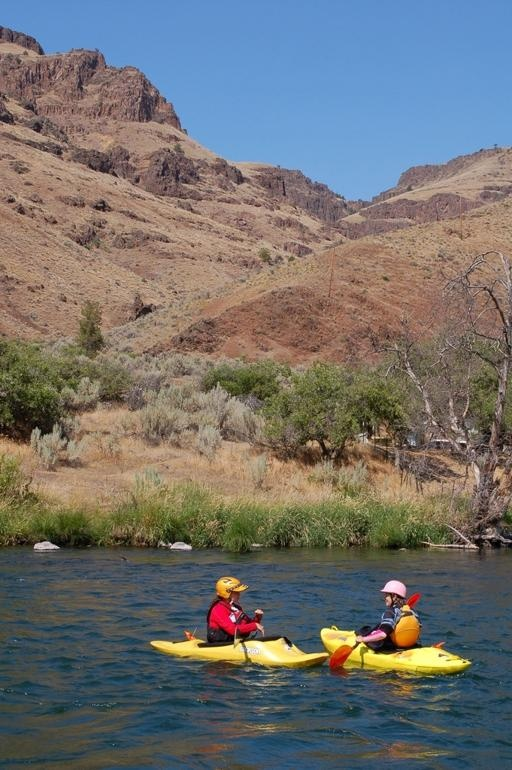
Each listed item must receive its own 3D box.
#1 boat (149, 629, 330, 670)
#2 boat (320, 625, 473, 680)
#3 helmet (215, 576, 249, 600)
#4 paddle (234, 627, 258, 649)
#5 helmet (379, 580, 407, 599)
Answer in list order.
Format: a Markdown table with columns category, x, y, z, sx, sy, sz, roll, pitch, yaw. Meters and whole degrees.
| category | x | y | z | sx | sy | sz | roll | pitch | yaw |
| --- | --- | --- | --- | --- | --- | --- | --- | --- | --- |
| boat | -0.110 | 2.700 | 10.950 | 2.132 | 0.383 | 0.596 | -1 | -7 | 26 |
| boat | 1.378 | 2.739 | 10.922 | 1.537 | 0.268 | 0.508 | -2 | 4 | 38 |
| helmet | -0.276 | 2.110 | 11.259 | 0.326 | 0.170 | 0.220 | -7 | -6 | 17 |
| paddle | -0.132 | 2.636 | 11.296 | 0.176 | 0.110 | 0.173 | -10 | 13 | -31 |
| helmet | 1.420 | 2.102 | 11.198 | 0.302 | 0.158 | 0.227 | 7 | -12 | 8 |
